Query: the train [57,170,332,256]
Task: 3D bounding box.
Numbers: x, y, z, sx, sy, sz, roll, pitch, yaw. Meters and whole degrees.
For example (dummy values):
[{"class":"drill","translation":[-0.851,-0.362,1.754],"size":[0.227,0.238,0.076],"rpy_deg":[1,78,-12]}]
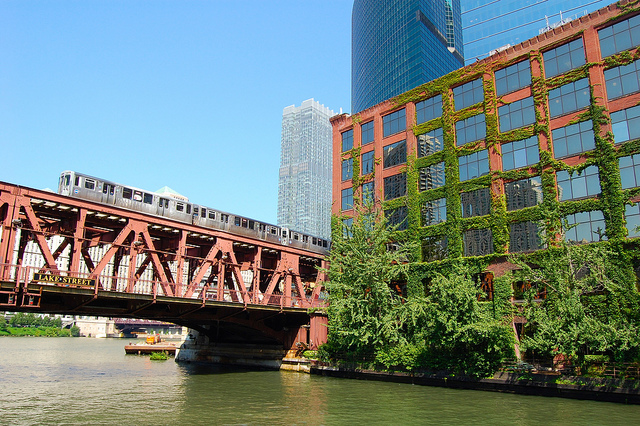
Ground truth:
[{"class":"train","translation":[-16.971,-0.305,63.553],"size":[27.326,1.800,2.190],"rpy_deg":[12,10,3]}]
